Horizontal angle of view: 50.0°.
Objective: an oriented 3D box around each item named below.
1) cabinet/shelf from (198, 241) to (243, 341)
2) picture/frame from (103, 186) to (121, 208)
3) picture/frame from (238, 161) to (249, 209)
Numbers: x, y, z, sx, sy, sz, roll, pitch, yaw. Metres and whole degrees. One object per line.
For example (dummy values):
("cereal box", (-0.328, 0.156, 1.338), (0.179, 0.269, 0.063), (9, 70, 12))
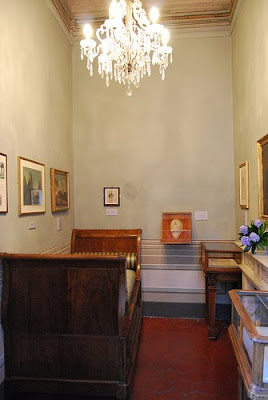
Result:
("cabinet/shelf", (1.130, 1.194, 3.754), (0.468, 1.297, 1.262), (0, 1, 6))
("picture/frame", (-0.368, -0.053, 4.947), (0.252, 0.407, 0.037), (0, 1, 2))
("picture/frame", (1.572, -0.202, 4.162), (0.037, 0.673, 0.543), (-1, 4, 32))
